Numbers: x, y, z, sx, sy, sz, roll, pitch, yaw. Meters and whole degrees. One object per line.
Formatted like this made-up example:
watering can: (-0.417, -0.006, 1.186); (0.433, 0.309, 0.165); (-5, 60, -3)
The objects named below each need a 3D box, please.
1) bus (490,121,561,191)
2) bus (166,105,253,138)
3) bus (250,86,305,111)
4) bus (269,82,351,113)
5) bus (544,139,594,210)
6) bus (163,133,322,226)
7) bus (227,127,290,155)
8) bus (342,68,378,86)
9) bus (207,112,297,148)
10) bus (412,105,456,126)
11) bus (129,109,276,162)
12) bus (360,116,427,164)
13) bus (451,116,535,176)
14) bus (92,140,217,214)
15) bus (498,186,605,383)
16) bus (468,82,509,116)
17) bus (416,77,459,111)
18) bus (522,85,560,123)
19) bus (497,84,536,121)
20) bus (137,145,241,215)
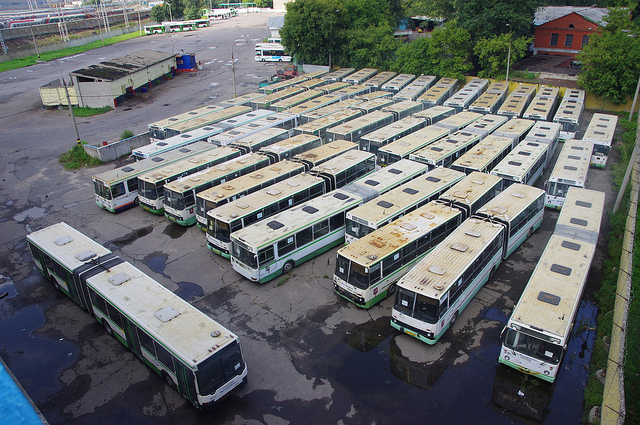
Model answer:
bus: (20.188, -5.401, 45.705); (2.762, 2.561, 11.207); (25, 47, 39)
bus: (-13.260, -10.102, 56.448); (12.435, 1.903, 3.287); (-23, 43, -31)
bus: (-5.323, -15.297, 64.820); (9.797, 2.377, 2.831); (-28, 43, -35)
bus: (-1.343, -15.605, 63.546); (10.841, 1.696, 2.440); (-32, 48, -32)
bus: (24.140, -3.590, 44.932); (3.305, 2.803, 11.226); (19, 43, 34)
bus: (-8.405, -3.723, 47.974); (5.621, 5.038, 19.408); (30, 41, 34)
bus: (-6.426, -7.149, 51.259); (7.116, 1.975, 2.689); (-29, 44, -33)
bus: (6.914, -21.421, 75.303); (2.578, 1.942, 7.586); (30, 49, 31)
bus: (-7.244, -8.492, 54.665); (11.251, 3.083, 3.884); (-27, 43, -34)
bus: (13.982, -11.981, 56.690); (5.903, 1.597, 2.299); (-24, 35, -33)
bus: (-12.644, -8.557, 52.127); (14.538, 2.355, 3.173); (-30, 48, -32)
bus: (8.501, -8.377, 52.718); (2.787, 2.774, 10.212); (24, 37, 33)
bus: (17.515, -6.521, 46.938); (10.043, 2.494, 2.327); (-33, 47, -27)
bus: (-16.070, -3.900, 48.338); (13.150, 3.504, 3.639); (-25, 38, -35)
bus: (18.857, 4.818, 34.506); (4.995, 5.202, 20.283); (16, 41, 34)
bus: (22.258, -14.956, 61.656); (2.681, 2.289, 9.121); (27, 48, 32)
bus: (16.122, -16.190, 63.970); (2.866, 2.468, 9.582); (26, 49, 31)
bus: (28.087, -13.702, 59.219); (2.852, 2.445, 9.471); (18, 47, 36)
bus: (25.326, -14.040, 59.890); (2.762, 2.529, 9.996); (22, 47, 34)
bus: (-13.487, -3.526, 46.660); (4.111, 3.286, 11.614); (29, 41, 34)
